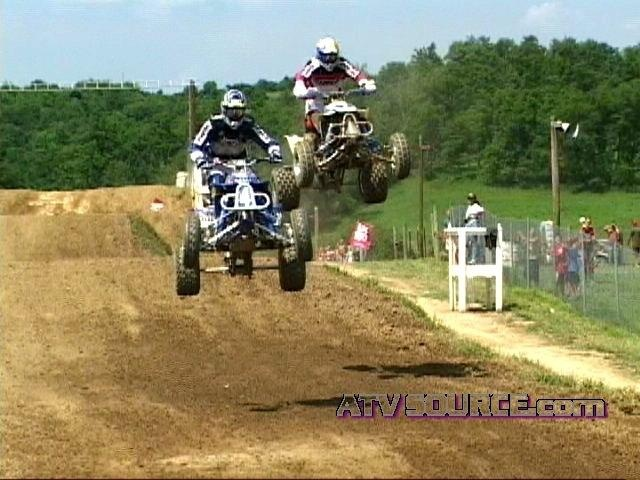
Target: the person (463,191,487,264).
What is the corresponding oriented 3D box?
[{"bbox_3d":[5.229,-0.371,42.635,0.526,2.777,0.720,0,9,5],"label":"person"}]
